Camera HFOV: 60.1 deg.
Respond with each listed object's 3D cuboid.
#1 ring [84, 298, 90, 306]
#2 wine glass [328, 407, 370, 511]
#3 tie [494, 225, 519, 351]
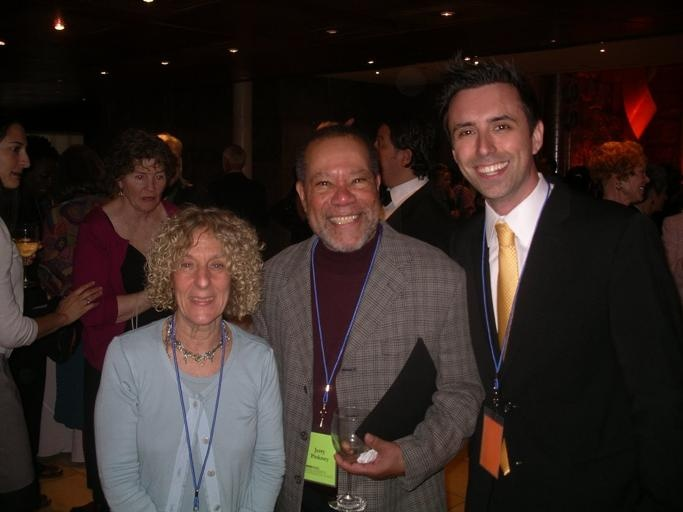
[{"bbox_3d":[-1.387,0.249,3.212,0.024,0.033,0.010,-3,13,-8],"label":"ring"},{"bbox_3d":[0.018,0.810,2.340,0.149,0.427,0.093,-2,2,-2],"label":"wine glass"},{"bbox_3d":[0.660,0.117,2.398,0.050,0.523,0.074,15,-17,-37],"label":"tie"}]
